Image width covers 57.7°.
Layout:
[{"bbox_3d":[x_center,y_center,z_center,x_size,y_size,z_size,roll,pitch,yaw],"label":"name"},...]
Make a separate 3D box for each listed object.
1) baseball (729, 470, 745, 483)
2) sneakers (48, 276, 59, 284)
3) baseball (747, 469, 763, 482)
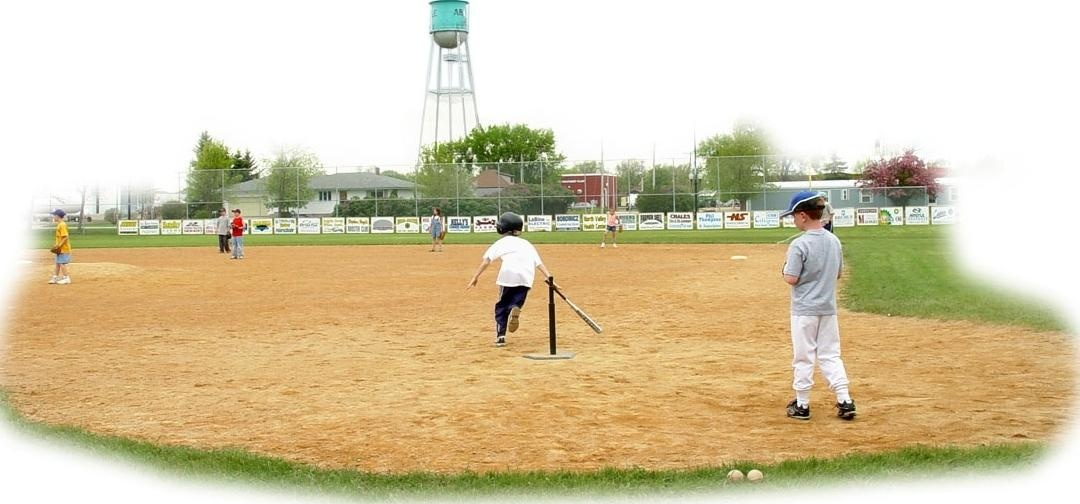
[{"bbox_3d":[4.046,4.595,20.317,0.289,0.150,0.242,-2,-1,3],"label":"baseball"},{"bbox_3d":[-16.550,0.928,33.436,0.286,0.221,0.623,1,-1,-21],"label":"sneakers"},{"bbox_3d":[4.447,4.575,20.310,0.298,0.162,0.242,-4,2,-13],"label":"baseball"}]
